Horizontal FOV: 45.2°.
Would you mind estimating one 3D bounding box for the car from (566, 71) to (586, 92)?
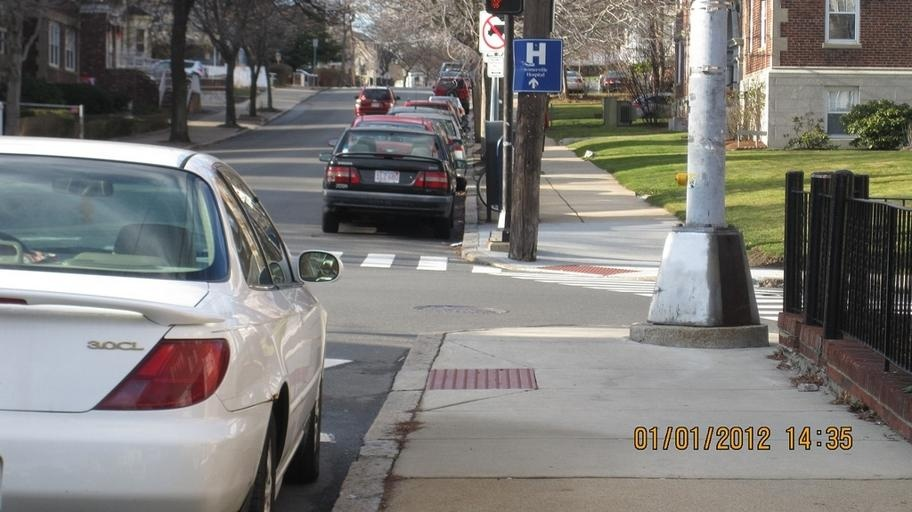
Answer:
[{"bbox_3d":[10.003,-14.535,92.220,1.479,1.674,4.885,0,9,5],"label":"car"}]

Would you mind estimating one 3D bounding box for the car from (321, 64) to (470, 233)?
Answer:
[{"bbox_3d":[-1.340,-1.661,23.192,2.888,2.533,3.668,-1,9,-3],"label":"car"}]

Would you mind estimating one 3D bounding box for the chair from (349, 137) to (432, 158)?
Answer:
[{"bbox_3d":[-1.253,-2.157,21.657,1.844,0.364,0.581,0,12,-1],"label":"chair"}]
